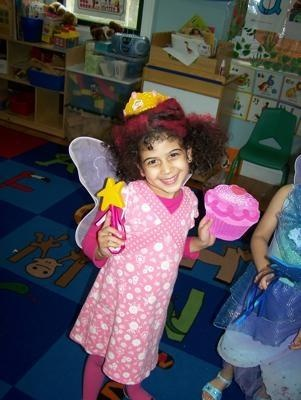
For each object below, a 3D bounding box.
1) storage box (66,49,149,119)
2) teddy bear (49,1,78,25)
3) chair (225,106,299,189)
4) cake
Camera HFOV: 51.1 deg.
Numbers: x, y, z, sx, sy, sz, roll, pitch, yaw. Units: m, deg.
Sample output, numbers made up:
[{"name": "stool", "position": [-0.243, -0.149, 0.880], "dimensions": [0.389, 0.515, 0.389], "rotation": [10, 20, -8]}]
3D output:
[{"name": "storage box", "position": [-0.393, -1.048, 2.809], "dimensions": [0.739, 0.539, 0.292], "rotation": [10, 32, 14]}, {"name": "teddy bear", "position": [-0.843, -1.781, 3.005], "dimensions": [0.204, 0.177, 0.377], "rotation": [-16, 38, -40]}, {"name": "chair", "position": [0.843, -0.376, 2.577], "dimensions": [0.555, 0.661, 0.530], "rotation": [6, 30, 16]}, {"name": "cake", "position": [0.185, 0.038, 0.822], "dimensions": [0.143, 0.116, 0.139], "rotation": [9, 23, -9]}]
